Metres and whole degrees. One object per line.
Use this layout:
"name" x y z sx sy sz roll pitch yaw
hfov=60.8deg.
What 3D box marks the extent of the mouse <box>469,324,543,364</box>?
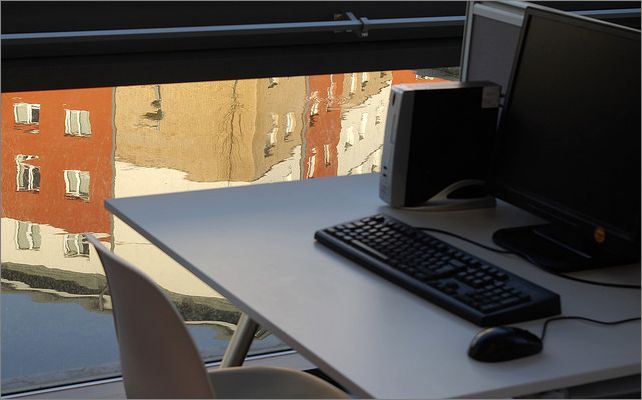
"mouse" 0.392 0.305 1.161 0.139 0.043 0.071 -7 19 -14
